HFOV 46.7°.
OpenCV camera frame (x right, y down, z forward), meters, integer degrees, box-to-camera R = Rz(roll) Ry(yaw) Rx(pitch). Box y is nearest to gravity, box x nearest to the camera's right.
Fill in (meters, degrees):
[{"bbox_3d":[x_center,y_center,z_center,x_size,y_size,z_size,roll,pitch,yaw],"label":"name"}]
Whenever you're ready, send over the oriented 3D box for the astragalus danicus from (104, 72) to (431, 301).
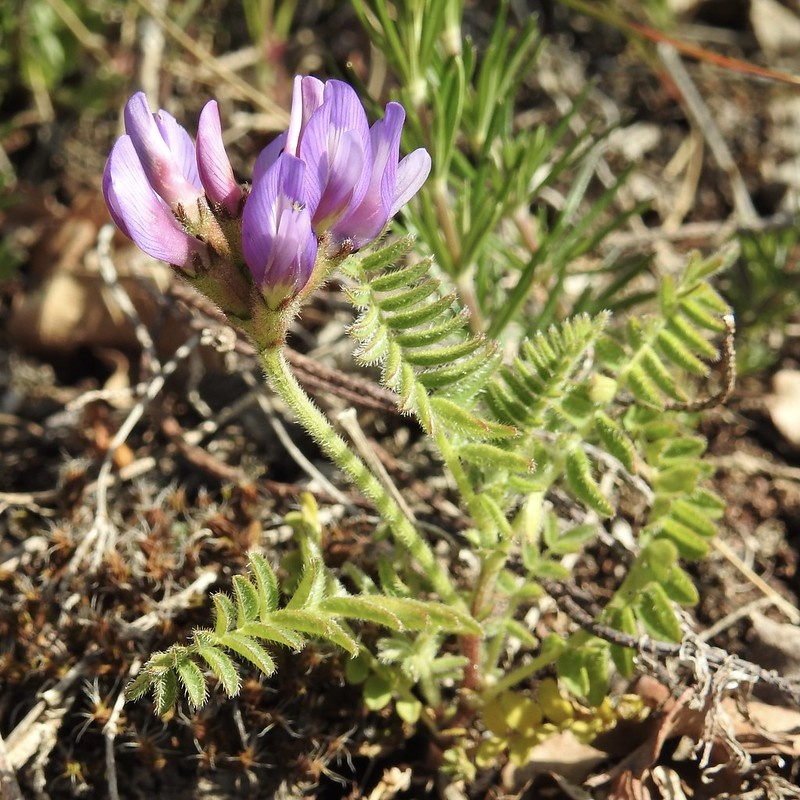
[{"bbox_3d":[-0.286,-0.337,1.729,0.524,0.453,0.309,-7,93,25],"label":"astragalus danicus"}]
